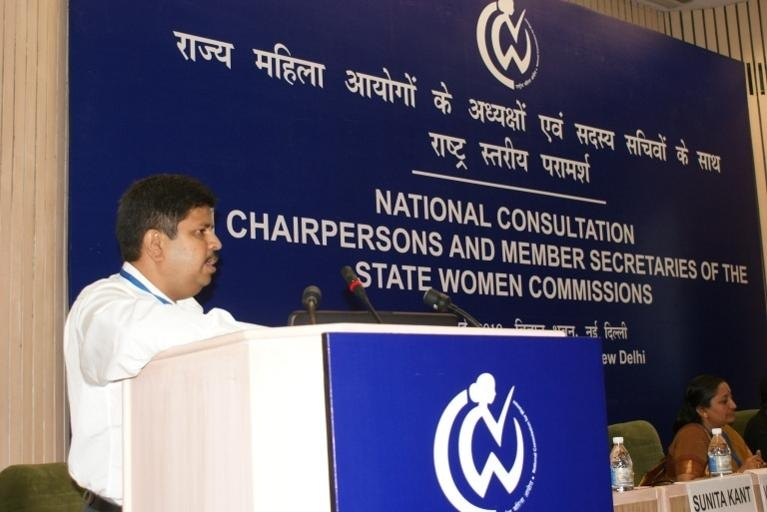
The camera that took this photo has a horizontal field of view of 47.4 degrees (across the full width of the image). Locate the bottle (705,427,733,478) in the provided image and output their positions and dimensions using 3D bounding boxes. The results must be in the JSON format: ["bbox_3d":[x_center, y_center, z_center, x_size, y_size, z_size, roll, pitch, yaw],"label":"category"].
[{"bbox_3d":[1.817,1.061,4.725,0.128,0.275,0.133,-1,-19,0],"label":"bottle"}]

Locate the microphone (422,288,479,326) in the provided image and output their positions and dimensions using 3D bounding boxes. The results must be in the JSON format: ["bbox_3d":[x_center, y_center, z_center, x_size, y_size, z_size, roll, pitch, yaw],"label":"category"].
[{"bbox_3d":[0.346,0.265,4.614,0.096,0.111,0.384,-5,24,-40],"label":"microphone"}]
